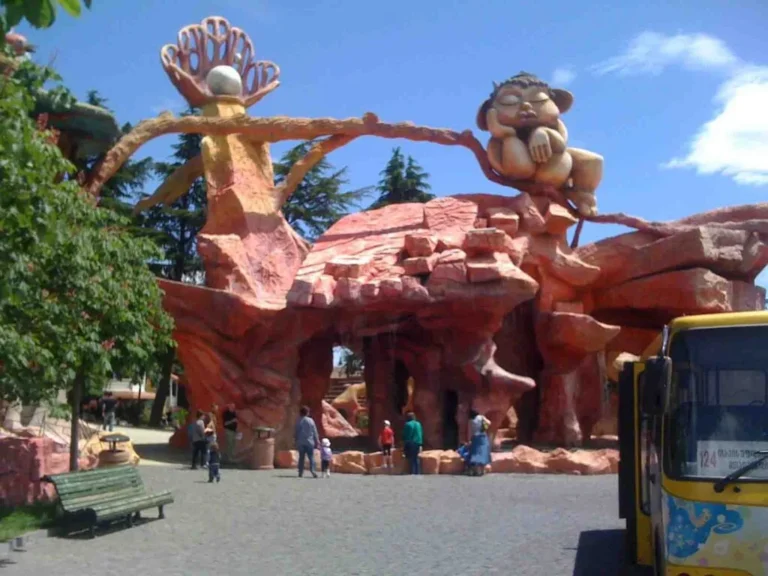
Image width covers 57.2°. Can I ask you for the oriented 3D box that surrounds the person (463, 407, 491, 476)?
[{"bbox_3d":[2.247,3.728,17.038,0.592,1.492,1.949,-1,-13,9],"label":"person"}]

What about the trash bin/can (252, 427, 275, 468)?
[{"bbox_3d":[-3.040,4.032,17.835,0.550,1.033,1.048,3,-13,-10],"label":"trash bin/can"}]

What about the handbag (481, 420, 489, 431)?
[{"bbox_3d":[2.397,3.271,16.861,0.205,0.248,0.594,0,-3,7],"label":"handbag"}]

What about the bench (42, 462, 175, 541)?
[{"bbox_3d":[-4.167,3.147,10.514,0.822,0.980,1.901,-4,-14,21],"label":"bench"}]

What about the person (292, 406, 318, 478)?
[{"bbox_3d":[-1.757,3.461,15.843,0.532,1.525,1.278,2,-12,-7],"label":"person"}]
